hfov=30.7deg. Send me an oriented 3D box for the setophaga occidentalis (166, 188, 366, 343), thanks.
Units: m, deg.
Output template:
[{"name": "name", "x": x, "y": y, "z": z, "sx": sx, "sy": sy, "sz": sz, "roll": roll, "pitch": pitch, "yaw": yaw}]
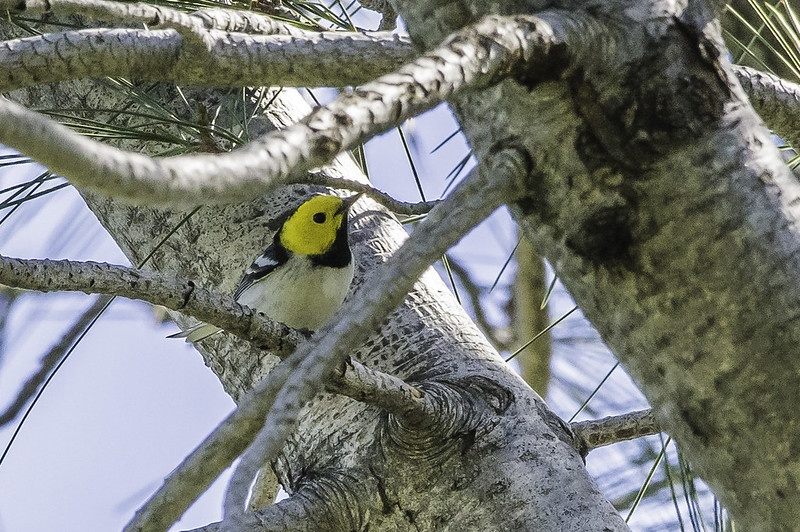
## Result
[{"name": "setophaga occidentalis", "x": -0.446, "y": -0.045, "z": 4.887, "sx": 0.814, "sy": 0.338, "sz": 0.570, "roll": 13, "pitch": -66, "yaw": 41}]
